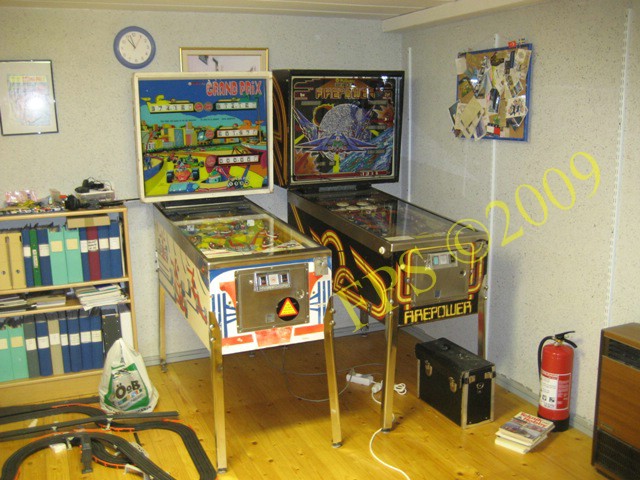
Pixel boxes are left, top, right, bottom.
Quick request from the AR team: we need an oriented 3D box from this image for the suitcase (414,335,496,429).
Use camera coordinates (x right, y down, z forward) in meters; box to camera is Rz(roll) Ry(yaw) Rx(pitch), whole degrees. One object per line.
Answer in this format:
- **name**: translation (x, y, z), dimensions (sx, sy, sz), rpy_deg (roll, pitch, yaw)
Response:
- **suitcase**: translation (0.900, 0.970, 4.016), dimensions (0.491, 0.531, 0.697), rpy_deg (-6, 14, -21)

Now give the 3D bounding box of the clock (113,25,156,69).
- **clock**: translation (-1.426, -1.466, 4.265), dimensions (0.365, 0.329, 0.059), rpy_deg (-2, 5, -23)

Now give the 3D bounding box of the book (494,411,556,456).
- **book**: translation (1.316, 1.237, 3.605), dimensions (0.246, 0.055, 0.234), rpy_deg (-15, 16, -17)

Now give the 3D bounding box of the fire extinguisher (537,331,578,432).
- **fire extinguisher**: translation (1.563, 0.910, 3.697), dimensions (0.240, 0.678, 0.196), rpy_deg (-3, 14, 0)
